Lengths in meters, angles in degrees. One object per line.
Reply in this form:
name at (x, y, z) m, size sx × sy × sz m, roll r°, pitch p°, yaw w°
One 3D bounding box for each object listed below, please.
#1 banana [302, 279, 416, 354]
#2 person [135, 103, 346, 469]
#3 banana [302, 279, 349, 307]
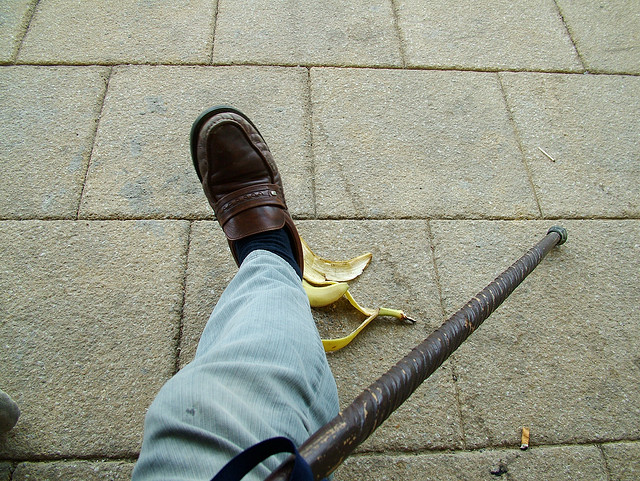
banana at (0.086, 0.217, 1.526) m, size 0.351 × 0.108 × 0.175 m, roll 2°, pitch 37°, yaw -1°
person at (-0.159, 0.049, 1.546) m, size 0.398 × 0.488 × 1.220 m, roll -3°, pitch 51°, yaw -4°
banana at (0.016, 0.160, 1.553) m, size 0.114 × 0.081 × 0.034 m, roll -4°, pitch 107°, yaw -13°
